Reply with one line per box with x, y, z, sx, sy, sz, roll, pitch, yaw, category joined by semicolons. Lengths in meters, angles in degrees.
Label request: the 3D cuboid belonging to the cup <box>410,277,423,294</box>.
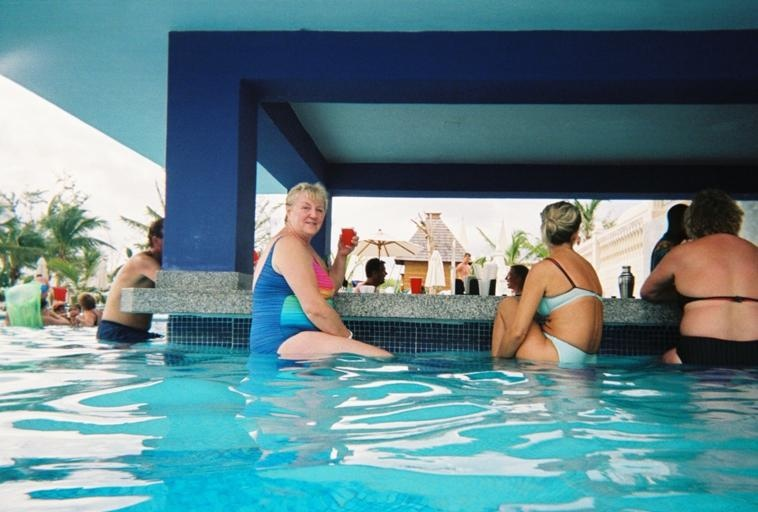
0.384;0.301;5.801;0.119;0.180;0.246;0;7;0;cup

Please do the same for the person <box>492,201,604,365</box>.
1.301;0.199;4.342;0.773;1.209;0.411;0;7;2;person

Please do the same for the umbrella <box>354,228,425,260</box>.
0.092;-0.165;12.067;0.778;0.384;0.828;-2;-8;40;umbrella

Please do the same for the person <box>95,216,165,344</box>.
-2.483;0.229;5.795;0.642;1.182;1.037;0;7;1;person

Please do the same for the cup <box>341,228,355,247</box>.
-0.281;-0.151;4.796;0.142;0.126;0.132;2;1;0;cup

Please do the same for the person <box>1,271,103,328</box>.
-4.779;0.665;8.247;0.990;0.708;1.482;0;0;10;person

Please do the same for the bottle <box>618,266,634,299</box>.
2.244;0.227;5.209;0.116;0.300;0.400;3;7;20;bottle

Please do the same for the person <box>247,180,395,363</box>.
-0.591;0.094;4.500;0.852;1.302;0.913;-1;7;-12;person
